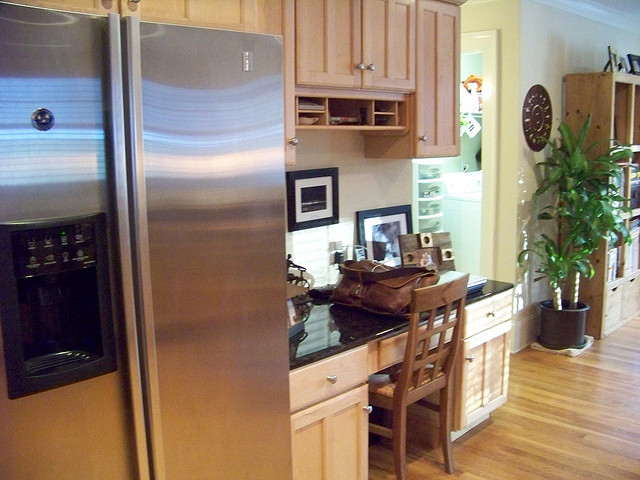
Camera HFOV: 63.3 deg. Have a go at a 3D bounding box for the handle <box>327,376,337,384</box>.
[{"bbox_3d":[0.053,0.618,2.311,0.037,0.033,0.030,0,0,17],"label":"handle"}]

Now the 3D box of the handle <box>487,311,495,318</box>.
[{"bbox_3d":[1.028,0.446,3.134,0.032,0.044,0.011,8,-24,0],"label":"handle"}]

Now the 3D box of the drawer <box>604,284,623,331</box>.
[{"bbox_3d":[2.845,0.654,5.065,0.229,0.414,0.433,2,9,33],"label":"drawer"}]

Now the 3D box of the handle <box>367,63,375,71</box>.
[{"bbox_3d":[0.274,-0.936,2.819,0.034,0.032,0.039,6,10,30],"label":"handle"}]

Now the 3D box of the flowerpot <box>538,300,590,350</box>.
[{"bbox_3d":[2.148,0.775,4.611,0.403,0.369,0.203,4,12,22],"label":"flowerpot"}]

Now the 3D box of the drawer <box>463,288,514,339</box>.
[{"bbox_3d":[0.949,0.419,3.219,0.469,0.211,0.273,-14,12,-38],"label":"drawer"}]

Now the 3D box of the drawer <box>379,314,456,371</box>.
[{"bbox_3d":[0.547,0.533,2.701,0.139,0.226,0.616,10,15,44],"label":"drawer"}]

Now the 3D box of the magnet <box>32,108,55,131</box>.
[{"bbox_3d":[-0.777,-0.339,1.454,0.064,0.064,0.015,-3,9,-37],"label":"magnet"}]

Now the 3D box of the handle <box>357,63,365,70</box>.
[{"bbox_3d":[0.221,-0.935,2.793,0.026,0.036,0.018,-16,36,-30],"label":"handle"}]

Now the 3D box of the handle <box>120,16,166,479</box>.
[{"bbox_3d":[-0.576,0.024,1.616,0.136,1.125,0.149,-6,16,-40],"label":"handle"}]

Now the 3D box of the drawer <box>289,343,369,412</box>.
[{"bbox_3d":[0.038,0.605,2.309,0.060,0.199,0.554,8,14,41],"label":"drawer"}]

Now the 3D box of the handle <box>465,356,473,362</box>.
[{"bbox_3d":[0.860,0.679,2.986,0.040,0.014,0.039,9,13,10],"label":"handle"}]

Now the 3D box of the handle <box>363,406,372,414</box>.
[{"bbox_3d":[0.228,0.819,2.503,0.039,0.027,0.024,5,-11,24],"label":"handle"}]

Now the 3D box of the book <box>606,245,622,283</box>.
[{"bbox_3d":[2.987,0.206,5.251,0.133,0.314,0.342,-2,-7,31],"label":"book"}]

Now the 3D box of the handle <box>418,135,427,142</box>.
[{"bbox_3d":[0.616,-0.612,3.126,0.033,0.026,0.045,-23,18,-36],"label":"handle"}]

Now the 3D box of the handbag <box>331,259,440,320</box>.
[{"bbox_3d":[0.393,0.280,2.911,0.613,0.266,0.665,-2,5,-32],"label":"handbag"}]
